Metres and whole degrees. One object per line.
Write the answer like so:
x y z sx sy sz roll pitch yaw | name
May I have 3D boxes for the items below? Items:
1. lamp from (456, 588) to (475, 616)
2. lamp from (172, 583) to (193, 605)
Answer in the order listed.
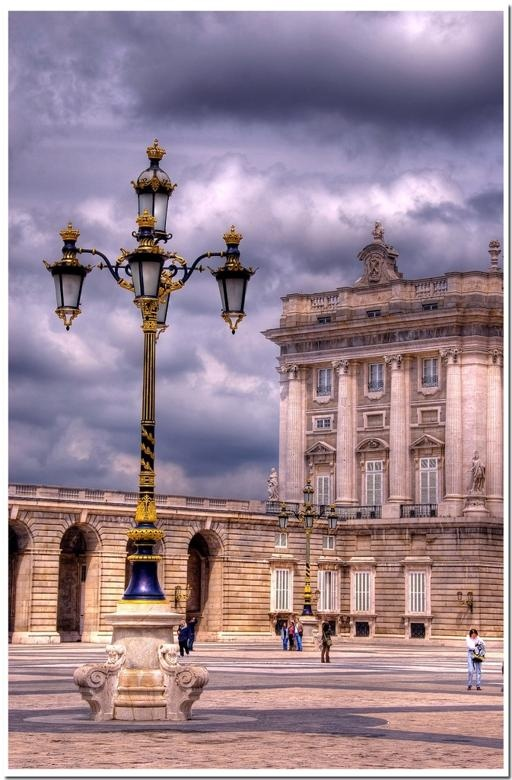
7.803 7.843 66.358 0.391 0.900 0.807 4 -8 -23 | lamp
-2.519 7.045 61.752 0.599 0.930 0.549 -6 -8 35 | lamp
